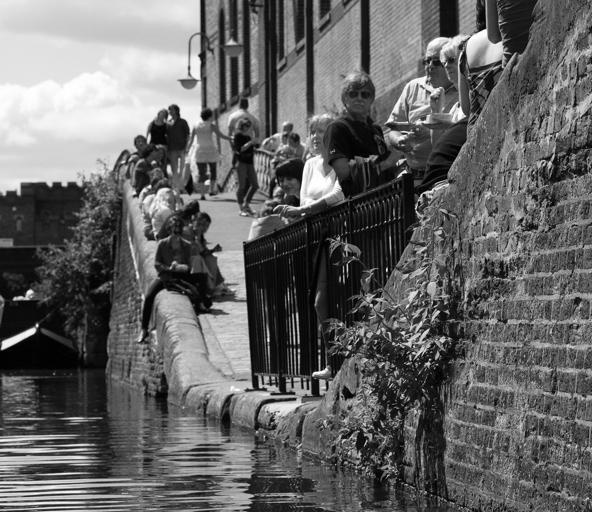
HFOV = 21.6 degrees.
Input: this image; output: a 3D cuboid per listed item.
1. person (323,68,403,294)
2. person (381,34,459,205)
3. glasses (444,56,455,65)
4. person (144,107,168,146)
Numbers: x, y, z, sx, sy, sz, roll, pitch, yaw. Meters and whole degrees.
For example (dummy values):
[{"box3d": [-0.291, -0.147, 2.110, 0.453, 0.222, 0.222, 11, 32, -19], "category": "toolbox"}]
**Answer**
[{"box3d": [0.451, -0.547, 9.784, 0.546, 1.230, 0.414, 10, -18, -43], "category": "person"}, {"box3d": [0.752, -0.690, 9.420, 0.393, 1.270, 0.355, 5, -9, 33], "category": "person"}, {"box3d": [0.868, -1.113, 8.832, 0.036, 0.032, 0.036, -23, 38, -33], "category": "glasses"}, {"box3d": [-2.251, -2.026, 25.253, 0.402, 0.799, 0.258, 5, -26, -7], "category": "person"}]
